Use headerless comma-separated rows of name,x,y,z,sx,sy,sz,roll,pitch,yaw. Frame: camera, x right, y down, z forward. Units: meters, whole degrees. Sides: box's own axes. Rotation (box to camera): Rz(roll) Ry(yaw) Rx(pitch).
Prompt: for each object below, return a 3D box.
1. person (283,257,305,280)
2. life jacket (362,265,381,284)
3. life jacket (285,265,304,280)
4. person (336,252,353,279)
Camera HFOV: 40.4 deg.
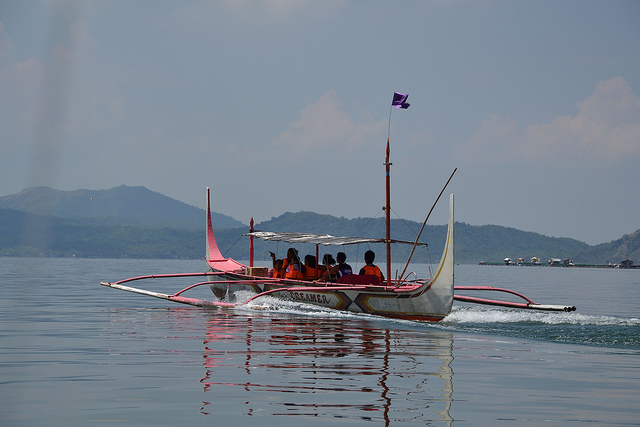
person,-1.125,2.598,39.983,0.967,0.754,1.066,1,90,-3
life jacket,2.317,2.686,37.528,0.796,0.474,0.870,2,91,-3
life jacket,-1.124,2.805,39.957,0.772,0.556,1.095,5,93,3
person,1.130,2.341,38.739,0.607,1.142,1.510,-6,49,1
